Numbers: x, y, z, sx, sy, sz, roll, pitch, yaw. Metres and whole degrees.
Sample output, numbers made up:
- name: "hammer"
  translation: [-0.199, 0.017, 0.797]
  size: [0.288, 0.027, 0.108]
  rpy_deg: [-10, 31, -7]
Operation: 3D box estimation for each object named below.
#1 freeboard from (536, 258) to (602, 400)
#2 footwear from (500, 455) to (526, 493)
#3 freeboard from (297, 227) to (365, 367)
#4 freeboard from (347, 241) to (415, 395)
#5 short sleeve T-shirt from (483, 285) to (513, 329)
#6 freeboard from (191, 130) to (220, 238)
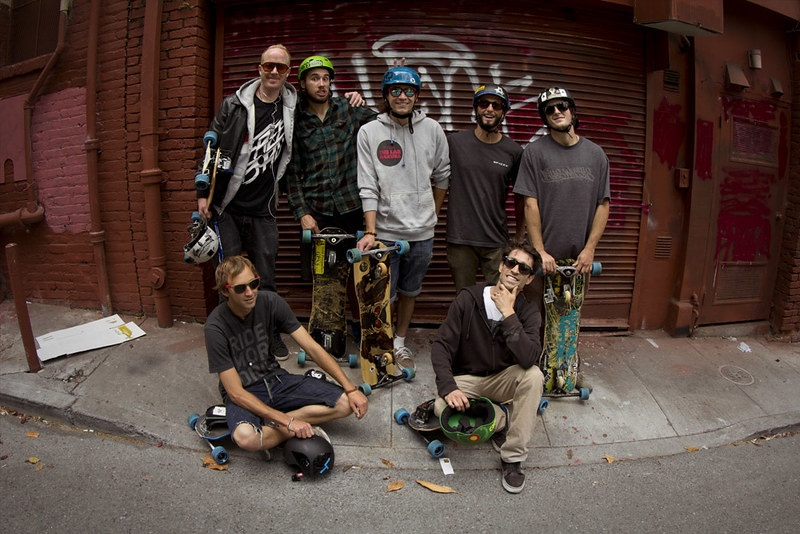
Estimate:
- name: "freeboard"
  translation: [1.807, 0.695, 5.857]
  size: [0.589, 1.469, 0.485]
  rpy_deg: [4, 20, 4]
- name: "footwear"
  translation: [1.076, 1.947, 5.169]
  size: [0.196, 0.170, 0.443]
  rpy_deg: [2, 17, -6]
- name: "freeboard"
  translation: [-0.748, 0.280, 5.946]
  size: [0.684, 1.553, 0.259]
  rpy_deg: [-3, 5, -19]
- name: "freeboard"
  translation: [-0.189, 0.534, 5.838]
  size: [0.698, 1.558, 0.668]
  rpy_deg: [-1, -2, -1]
- name: "short sleeve T-shirt"
  translation: [0.987, 0.415, 5.366]
  size: [0.339, 0.431, 0.246]
  rpy_deg: [11, 13, 22]
- name: "freeboard"
  translation: [-1.989, -0.871, 5.717]
  size: [0.307, 1.156, 0.286]
  rpy_deg: [3, -1, -10]
